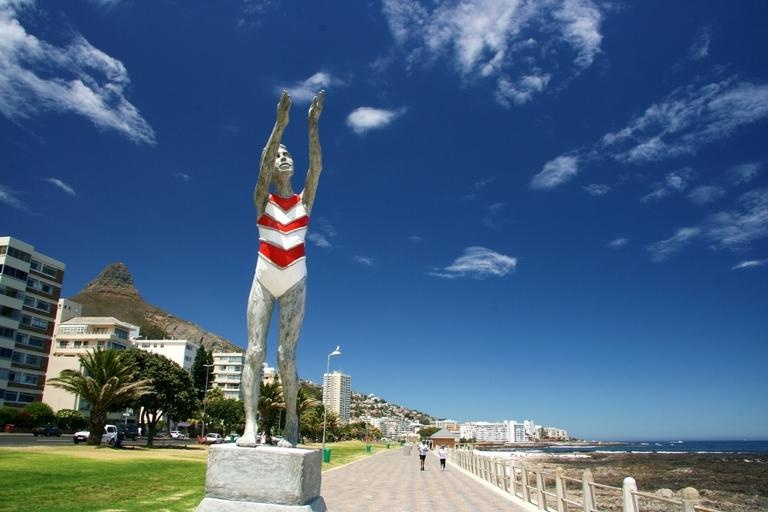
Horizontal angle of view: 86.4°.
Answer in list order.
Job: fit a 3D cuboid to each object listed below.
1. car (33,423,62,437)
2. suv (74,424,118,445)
[{"bbox_3d":[-36.138,18.675,43.808,2.192,1.243,5.211,16,-29,-34],"label":"car"},{"bbox_3d":[-25.866,15.959,36.640,2.810,1.511,7.221,14,-27,-30],"label":"suv"}]
